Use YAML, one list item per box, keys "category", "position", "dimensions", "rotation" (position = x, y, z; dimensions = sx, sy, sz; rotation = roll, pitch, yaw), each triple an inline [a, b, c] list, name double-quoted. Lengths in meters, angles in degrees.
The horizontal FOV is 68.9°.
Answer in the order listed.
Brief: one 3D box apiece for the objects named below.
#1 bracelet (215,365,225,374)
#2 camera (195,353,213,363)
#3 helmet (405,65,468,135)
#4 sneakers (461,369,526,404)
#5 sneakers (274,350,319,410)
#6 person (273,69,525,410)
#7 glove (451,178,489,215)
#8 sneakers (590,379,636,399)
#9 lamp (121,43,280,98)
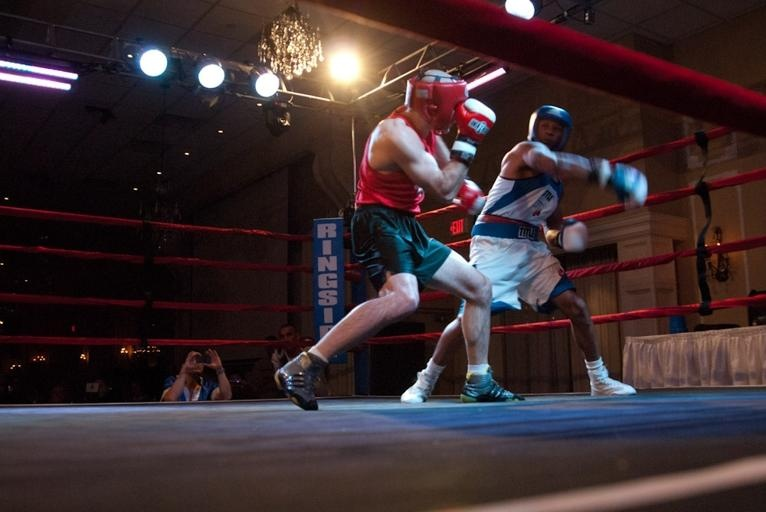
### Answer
- category: "bracelet"
  position: [-1.076, 0.749, 3.664]
  dimensions: [0.077, 0.028, 0.072]
  rotation: [2, -5, -19]
- category: "camera"
  position: [-1.080, 0.617, 3.327]
  dimensions: [0.091, 0.086, 0.088]
  rotation: [1, -6, -3]
- category: "helmet"
  position: [0.193, -0.601, 2.196]
  dimensions: [0.245, 0.226, 0.218]
  rotation: [-2, 11, -3]
- category: "sneakers"
  position: [0.491, 0.558, 2.355]
  dimensions: [0.319, 0.146, 0.108]
  rotation: [3, -8, -14]
- category: "sneakers"
  position: [-0.260, 0.412, 1.865]
  dimensions: [0.144, 0.194, 0.214]
  rotation: [11, -17, -35]
- category: "person"
  position: [0.105, -0.077, 2.087]
  dimensions: [0.916, 1.258, 0.503]
  rotation: [6, -15, -18]
- category: "glove"
  position: [0.367, -0.263, 2.467]
  dimensions: [0.125, 0.127, 0.162]
  rotation: [12, -4, -29]
- category: "sneakers"
  position: [1.026, 0.599, 2.501]
  dimensions: [0.194, 0.080, 0.108]
  rotation: [-12, -14, 36]
- category: "lamp"
  position: [-2.180, -2.291, 7.015]
  dimensions: [1.682, 0.439, 0.317]
  rotation: [8, -15, -26]
